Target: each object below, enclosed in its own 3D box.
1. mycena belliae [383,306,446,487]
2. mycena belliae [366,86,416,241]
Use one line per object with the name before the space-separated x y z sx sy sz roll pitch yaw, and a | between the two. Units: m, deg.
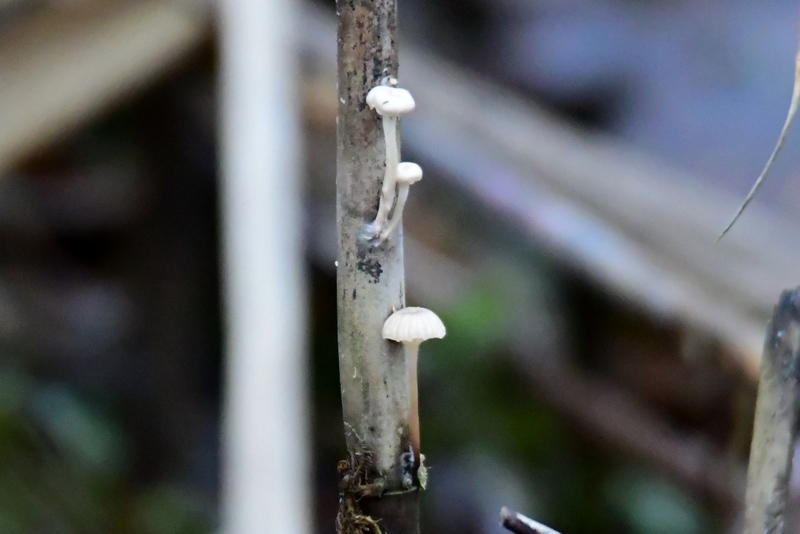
mycena belliae | 0.077 0.541 5.602 0.236 0.736 0.318 0 -6 23
mycena belliae | -0.026 -0.382 5.470 0.254 0.618 0.203 3 3 -2
